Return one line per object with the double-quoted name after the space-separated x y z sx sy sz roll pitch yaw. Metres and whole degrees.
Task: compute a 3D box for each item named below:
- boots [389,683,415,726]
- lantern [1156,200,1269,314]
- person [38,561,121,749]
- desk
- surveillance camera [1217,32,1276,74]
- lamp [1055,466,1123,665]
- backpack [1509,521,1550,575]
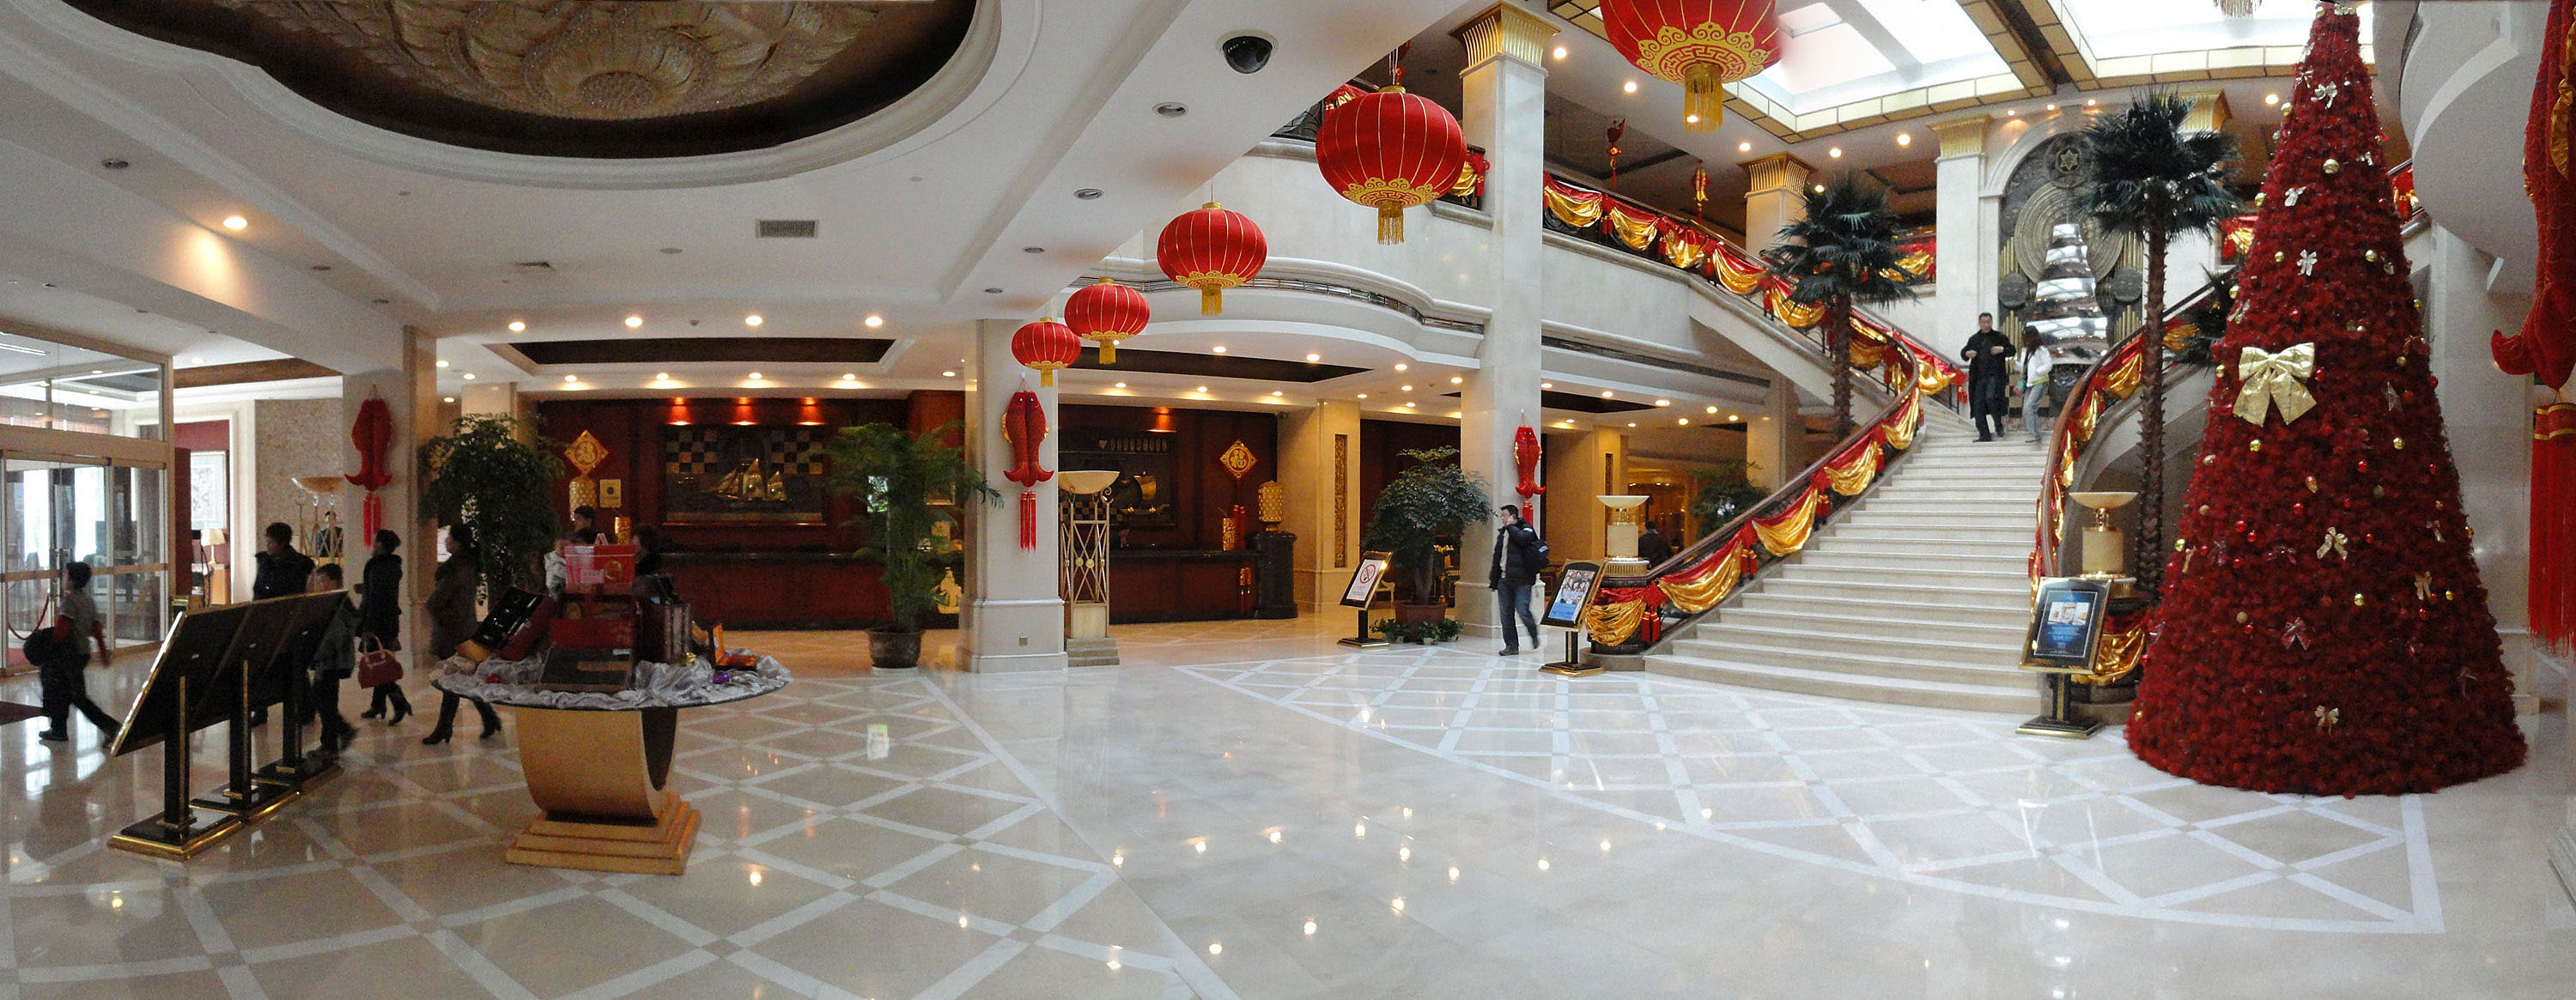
-12.532 2.867 17.813 0.294 0.409 0.642 -7 14 -23 "boots"
-1.081 -3.361 17.298 1.328 1.419 0.532 -1 16 -6 "lantern"
-16.484 2.063 17.010 0.881 2.283 1.612 -13 20 -39 "person"
-8.207 3.209 15.164 4.923 2.552 2.611 -2 -3 40 "desk"
-0.518 -5.401 15.040 0.511 0.224 0.434 -1 3 17 "surveillance camera"
-3.341 1.088 21.500 1.669 3.106 1.055 3 0 26 "lamp"
3.935 0.859 21.113 0.668 0.986 0.281 -2 16 -7 "backpack"
